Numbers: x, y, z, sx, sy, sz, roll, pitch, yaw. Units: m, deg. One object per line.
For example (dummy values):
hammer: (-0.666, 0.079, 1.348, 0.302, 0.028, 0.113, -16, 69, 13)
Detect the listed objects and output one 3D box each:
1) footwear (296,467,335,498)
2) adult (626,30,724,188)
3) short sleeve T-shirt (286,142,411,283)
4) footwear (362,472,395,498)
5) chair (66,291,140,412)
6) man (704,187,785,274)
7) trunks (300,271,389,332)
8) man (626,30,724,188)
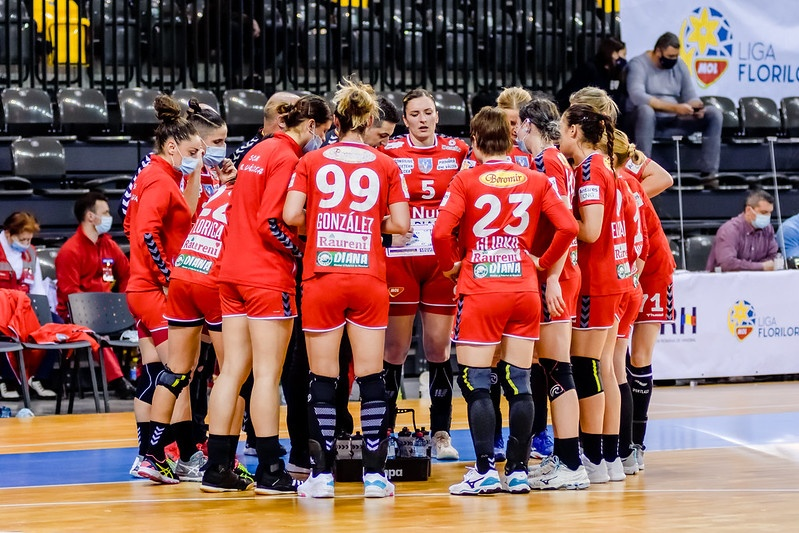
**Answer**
footwear: (-0.671, 1.776, 10.557, 0.136, 0.196, 0.327, 5, -6, -32)
adult: (3.452, -2.018, 16.482, 1.034, 2.109, 1.248, -2, 1, 18)
short sleeve T-shirt: (-0.462, -0.458, 10.546, 0.905, 1.346, 0.451, 1, 2, 1)
footwear: (-0.159, 1.778, 10.595, 0.269, 0.202, 0.169, -1, 1, -15)
chair: (-3.003, 0.780, 13.498, 0.752, 1.585, 0.963, 1, -25, -22)
man: (3.980, -0.078, 15.091, 0.672, 1.734, 0.794, 6, 2, 19)
trunks: (-0.443, 0.287, 10.455, 0.632, 0.575, 0.420, 1, 8, -3)
man: (3.464, -2.038, 16.495, 1.050, 2.114, 1.179, -3, 1, 23)
